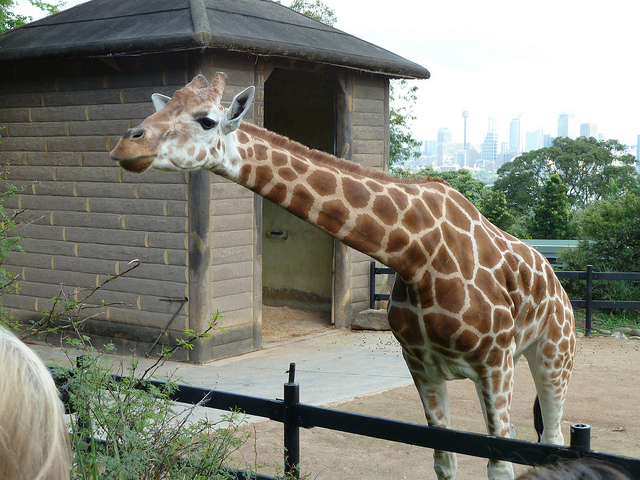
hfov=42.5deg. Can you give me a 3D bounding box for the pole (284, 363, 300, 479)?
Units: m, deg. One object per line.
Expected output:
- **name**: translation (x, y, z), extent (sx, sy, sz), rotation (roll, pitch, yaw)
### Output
- **pole**: translation (-0.220, 1.367, 6.300), extent (0.124, 0.862, 0.167), rotation (3, 3, 0)

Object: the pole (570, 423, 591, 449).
- **pole**: translation (1.763, 1.308, 5.538), extent (0.130, 0.166, 0.138), rotation (-1, 4, 2)
